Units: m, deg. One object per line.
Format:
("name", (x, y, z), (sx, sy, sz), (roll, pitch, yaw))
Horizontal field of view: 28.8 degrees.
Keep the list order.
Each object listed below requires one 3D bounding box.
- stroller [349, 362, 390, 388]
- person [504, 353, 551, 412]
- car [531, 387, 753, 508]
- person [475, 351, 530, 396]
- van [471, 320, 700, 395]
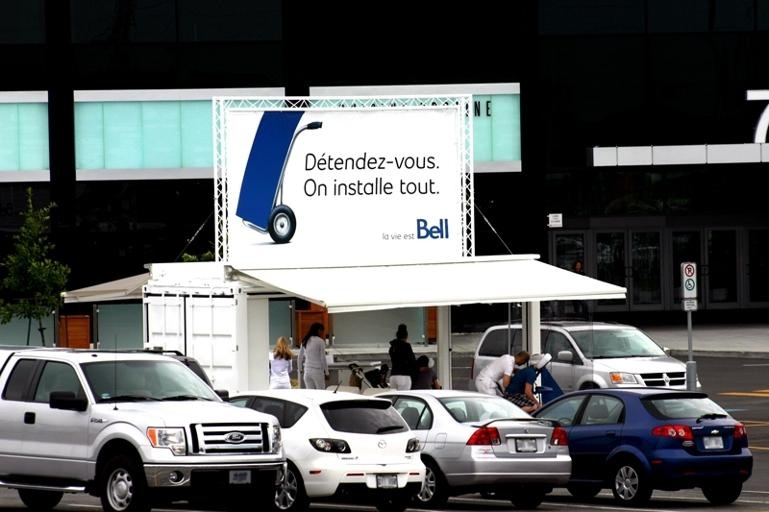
("stroller", (-0.407, 3.456, 42.929), (0.884, 0.917, 0.728), (-6, -5, 24))
("person", (3.784, 3.579, 39.252), (1.278, 1.675, 0.859), (2, 10, -14))
("car", (6.080, 4.477, 34.707), (2.887, 2.542, 5.727), (0, -1, -34))
("person", (3.126, 3.204, 40.077), (2.029, 1.600, 0.947), (2, -6, 6))
("van", (6.032, 3.664, 45.256), (3.633, 3.274, 7.668), (0, -3, -31))
